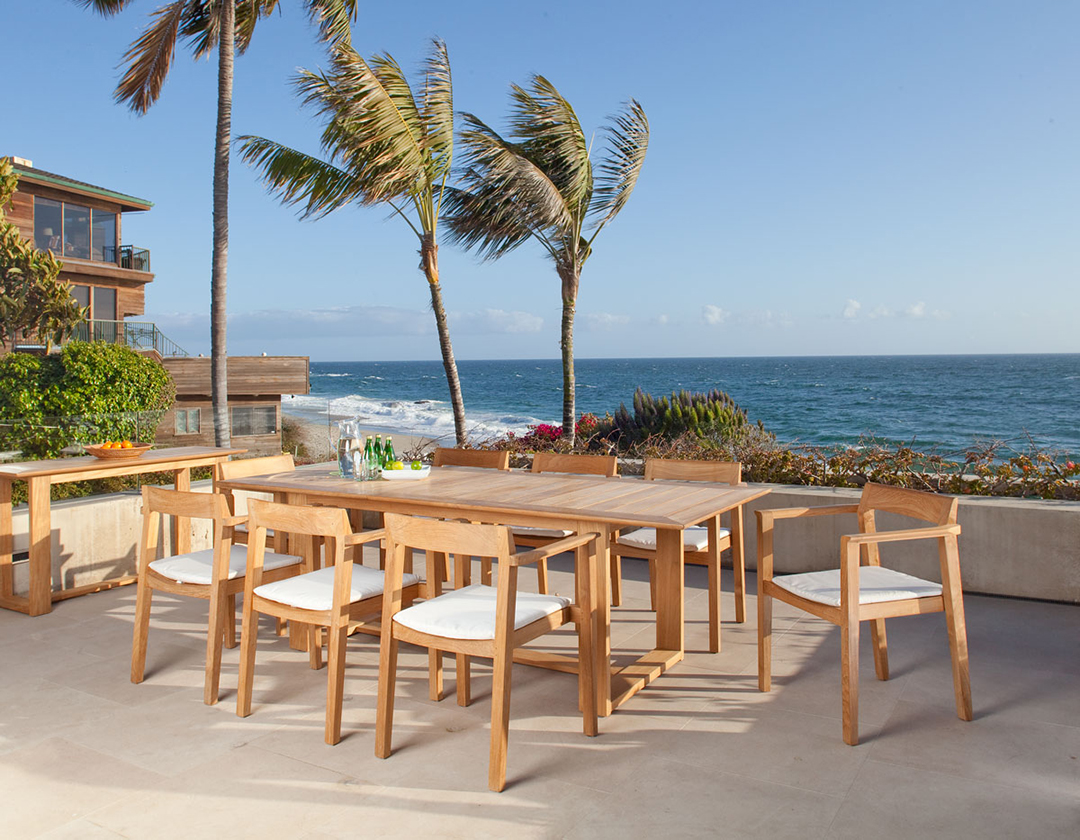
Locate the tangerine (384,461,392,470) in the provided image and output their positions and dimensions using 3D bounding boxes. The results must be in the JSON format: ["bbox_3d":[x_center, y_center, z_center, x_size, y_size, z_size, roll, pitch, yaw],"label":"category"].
[{"bbox_3d":[-0.920,0.274,4.822,0.046,0.030,0.044,-2,-6,14],"label":"tangerine"}]

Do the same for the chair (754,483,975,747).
[{"bbox_3d":[1.543,0.858,3.867,0.814,1.074,0.812,-4,12,-19],"label":"chair"}]

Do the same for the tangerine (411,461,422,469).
[{"bbox_3d":[-0.764,0.275,4.856,0.057,0.050,0.057,-3,1,37],"label":"tangerine"}]
